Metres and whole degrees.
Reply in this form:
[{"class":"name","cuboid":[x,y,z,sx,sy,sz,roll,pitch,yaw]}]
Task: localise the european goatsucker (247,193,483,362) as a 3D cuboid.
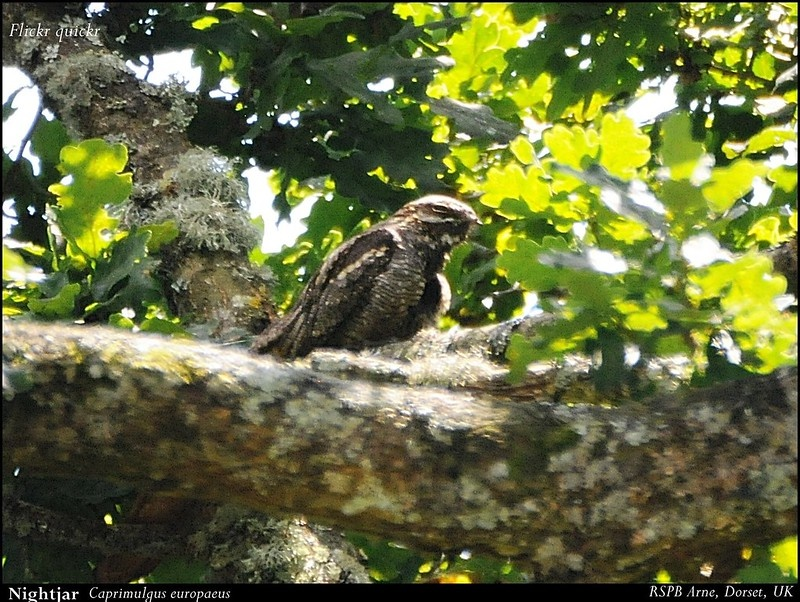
[{"class":"european goatsucker","cuboid":[-0.173,-0.037,5.971,1.002,0.680,0.511,-6,-16,23]}]
